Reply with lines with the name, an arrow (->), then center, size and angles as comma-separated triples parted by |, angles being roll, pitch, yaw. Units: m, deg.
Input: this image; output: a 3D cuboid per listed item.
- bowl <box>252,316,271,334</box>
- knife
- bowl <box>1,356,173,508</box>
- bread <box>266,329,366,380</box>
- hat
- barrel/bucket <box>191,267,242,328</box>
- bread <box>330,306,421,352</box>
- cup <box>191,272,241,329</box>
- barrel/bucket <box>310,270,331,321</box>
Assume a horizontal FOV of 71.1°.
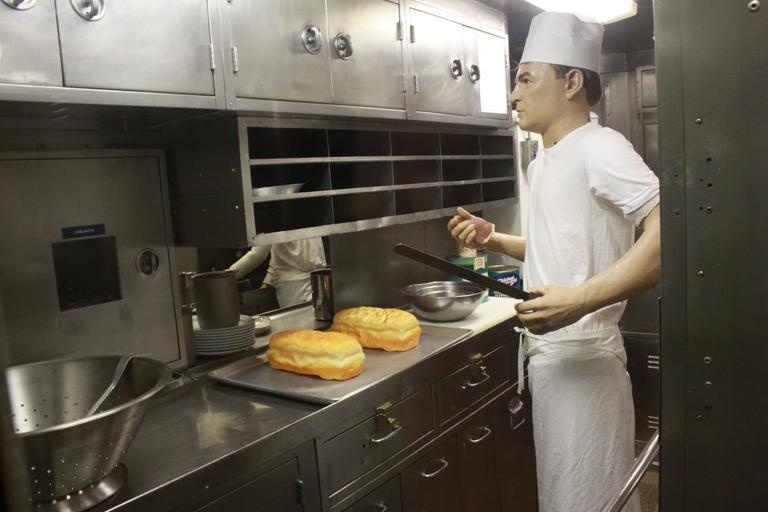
bowl -> -0.538, 0.301, 2.373 | 0.071, 0.028, 0.072 | 0, 17, 0
knife -> 0.355, 0.075, 2.446 | 0.871, 0.123, 0.058 | 19, 10, 20
bowl -> -0.732, 0.419, 1.376 | 0.334, 0.268, 0.403 | -11, 18, -36
bread -> -0.243, 0.342, 1.993 | 0.288, 0.134, 0.164 | 1, 4, 27
hat -> 0.616, -0.734, 1.843 | 0.256, 0.155, 0.245 | 6, 20, 4
barrel/bucket -> -0.596, 0.171, 2.131 | 0.224, 0.224, 0.146 | -2, 4, 29
bread -> -0.026, 0.274, 2.256 | 0.303, 0.134, 0.162 | 7, 7, 38
cup -> -0.730, 0.190, 2.189 | 0.242, 0.238, 0.156 | -3, 8, -10
barrel/bucket -> -0.284, 0.171, 2.550 | 0.131, 0.221, 0.132 | -1, 8, 0
